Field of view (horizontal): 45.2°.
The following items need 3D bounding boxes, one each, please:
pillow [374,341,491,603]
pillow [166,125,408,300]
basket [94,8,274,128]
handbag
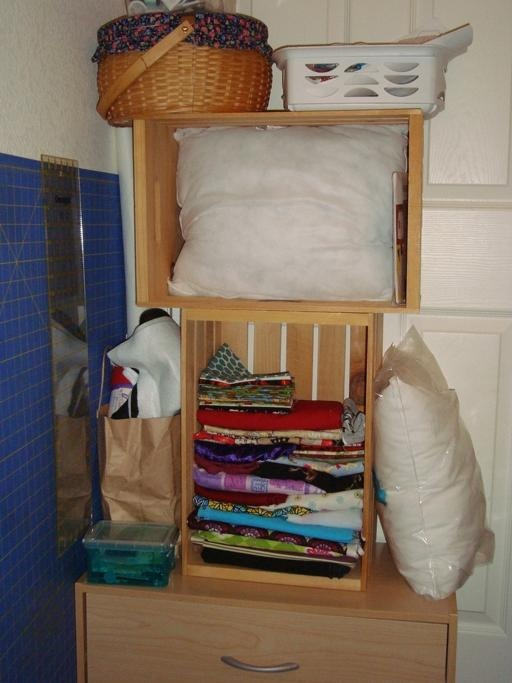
[{"bbox_3d":[0.388,0.281,1.369,0.217,0.510,0.449,-8,45,18],"label":"pillow"},{"bbox_3d":[0.064,-0.262,1.240,0.475,0.360,0.129,3,8,12],"label":"pillow"},{"bbox_3d":[-0.153,-0.593,1.380,0.408,0.189,0.430,9,23,33],"label":"basket"},{"bbox_3d":[-0.256,0.269,1.596,0.230,0.386,0.295,0,3,6],"label":"handbag"}]
